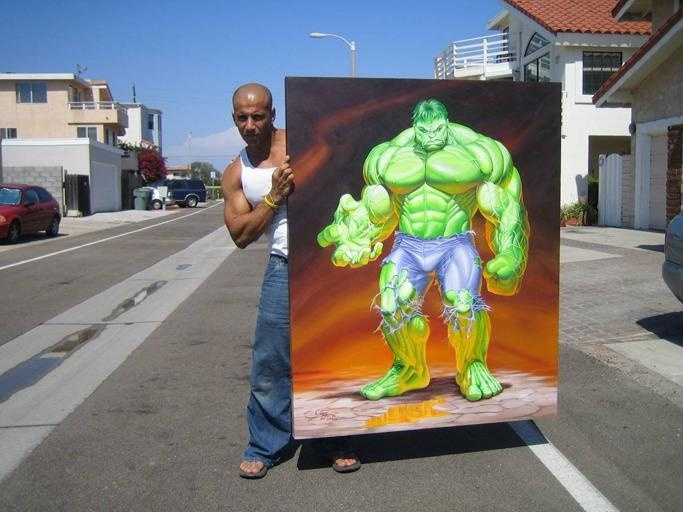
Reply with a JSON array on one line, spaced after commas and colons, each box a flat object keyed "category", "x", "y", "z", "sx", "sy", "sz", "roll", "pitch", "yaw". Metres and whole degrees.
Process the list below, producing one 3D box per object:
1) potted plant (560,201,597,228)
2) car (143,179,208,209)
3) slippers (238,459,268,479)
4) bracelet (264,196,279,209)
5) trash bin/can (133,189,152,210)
[{"category": "potted plant", "x": 9.675, "y": -1.690, "z": 20.967, "sx": 1.575, "sy": 0.879, "sz": 0.851, "roll": -5, "pitch": 9, "yaw": -30}, {"category": "car", "x": -14.707, "y": -5.737, "z": 47.042, "sx": 3.097, "sy": 2.598, "sz": 4.128, "roll": 0, "pitch": 8, "yaw": 6}, {"category": "slippers", "x": -0.600, "y": 1.462, "z": 3.531, "sx": 0.157, "sy": 0.068, "sz": 0.100, "roll": 5, "pitch": 8, "yaw": -22}, {"category": "bracelet", "x": -0.460, "y": -0.346, "z": 3.346, "sx": 0.079, "sy": 0.032, "sz": 0.074, "roll": 37, "pitch": 19, "yaw": 3}, {"category": "trash bin/can", "x": -16.257, "y": -4.500, "z": 41.308, "sx": 1.424, "sy": 1.935, "sz": 1.445, "roll": -1, "pitch": -1, "yaw": -9}]
